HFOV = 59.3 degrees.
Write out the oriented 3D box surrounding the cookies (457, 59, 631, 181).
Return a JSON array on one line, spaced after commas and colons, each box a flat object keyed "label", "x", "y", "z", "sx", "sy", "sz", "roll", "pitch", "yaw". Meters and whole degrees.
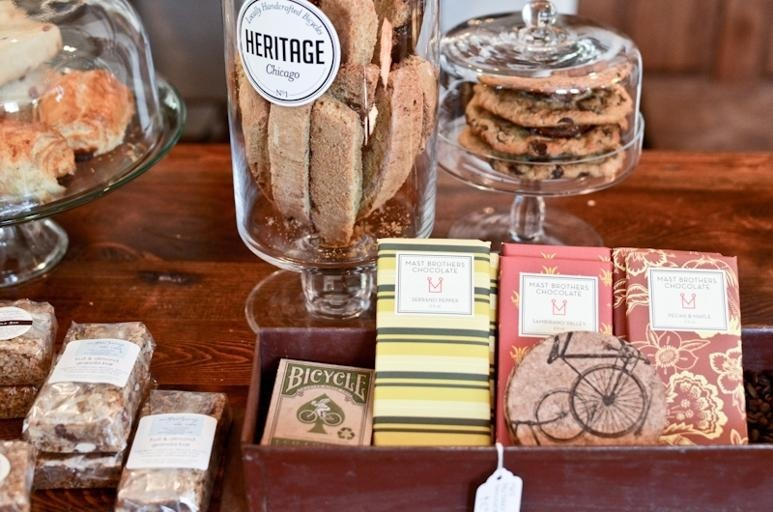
[{"label": "cookies", "x": 0.224, "y": -0.183, "z": 0.937, "sx": 0.243, "sy": 0.136, "sz": 0.105, "roll": 1, "pitch": 35, "yaw": 6}]
